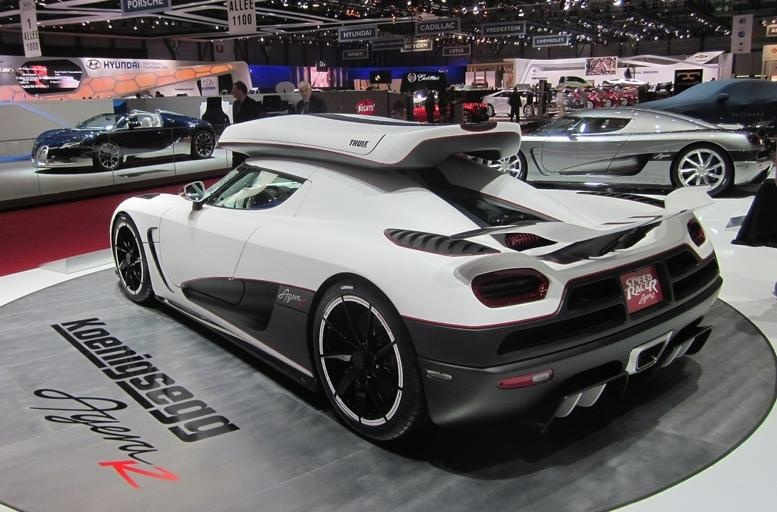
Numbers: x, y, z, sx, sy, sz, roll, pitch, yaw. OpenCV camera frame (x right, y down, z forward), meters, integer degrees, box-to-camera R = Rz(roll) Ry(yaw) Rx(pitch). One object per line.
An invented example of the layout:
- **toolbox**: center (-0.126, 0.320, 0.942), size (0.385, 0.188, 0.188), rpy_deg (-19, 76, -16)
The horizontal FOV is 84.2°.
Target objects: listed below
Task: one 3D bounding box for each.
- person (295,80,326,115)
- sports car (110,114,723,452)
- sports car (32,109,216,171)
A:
- **person**: center (-1.608, -3.221, 8.655), size (0.569, 0.642, 1.013), rpy_deg (-6, 17, -10)
- **sports car**: center (-0.313, -0.468, 4.045), size (5.166, 1.355, 2.867), rpy_deg (19, 28, 39)
- **sports car**: center (-6.429, -2.809, 10.507), size (1.725, 0.821, 3.289), rpy_deg (14, 19, 39)
